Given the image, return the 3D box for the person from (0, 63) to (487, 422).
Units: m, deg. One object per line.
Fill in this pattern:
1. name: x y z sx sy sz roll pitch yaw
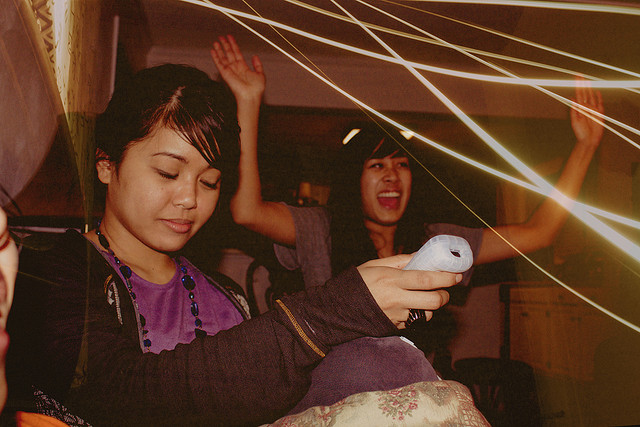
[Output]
1. person: -0.286 0.139 1.881 1.321 1.126 0.612 8 19 4

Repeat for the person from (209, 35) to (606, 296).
1. person: 0.270 -0.176 2.127 0.946 1.075 0.238 4 -4 -19

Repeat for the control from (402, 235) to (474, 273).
1. control: 0.360 0.122 1.683 0.168 0.098 0.062 -16 -20 17

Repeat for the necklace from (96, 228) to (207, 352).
1. necklace: -0.595 0.229 1.991 0.057 0.497 0.270 -28 -2 43
